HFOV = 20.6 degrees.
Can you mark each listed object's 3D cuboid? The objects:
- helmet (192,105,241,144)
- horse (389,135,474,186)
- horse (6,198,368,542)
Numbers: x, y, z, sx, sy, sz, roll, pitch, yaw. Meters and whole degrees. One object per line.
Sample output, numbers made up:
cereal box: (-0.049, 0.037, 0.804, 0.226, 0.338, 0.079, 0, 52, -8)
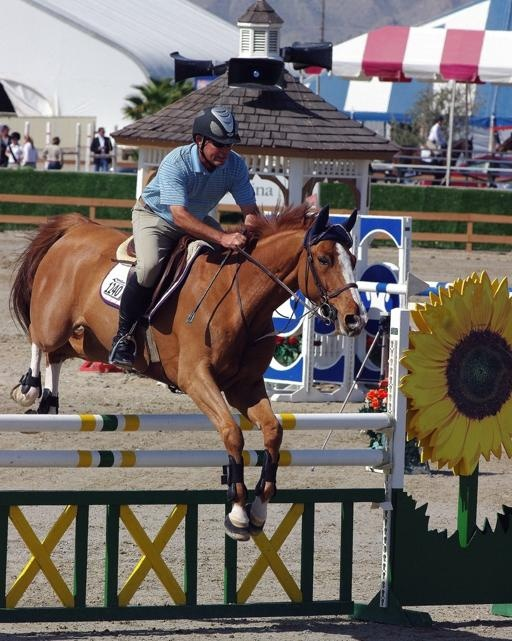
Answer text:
helmet: (-0.206, -1.044, 7.624, 0.180, 0.141, 0.242, -12, 24, -36)
horse: (3.271, -2.959, 27.046, 2.011, 1.193, 0.532, 4, 13, 21)
horse: (-0.612, 0.113, 8.072, 2.766, 1.806, 0.636, 13, 4, 42)
